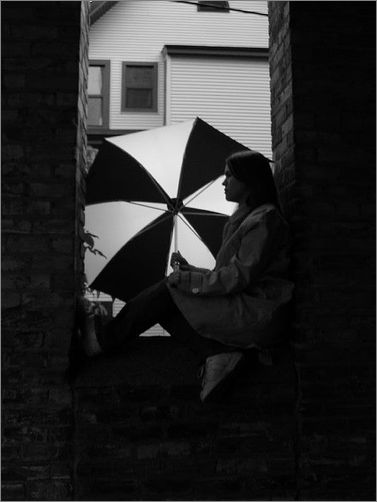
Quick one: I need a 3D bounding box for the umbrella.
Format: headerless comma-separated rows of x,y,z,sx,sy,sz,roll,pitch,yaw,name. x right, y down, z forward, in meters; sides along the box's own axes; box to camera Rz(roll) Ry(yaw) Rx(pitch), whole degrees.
0.027,0.090,5.414,1.408,1.173,1.570,-26,-11,3,umbrella

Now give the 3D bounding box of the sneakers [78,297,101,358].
-0.573,0.455,4.180,0.163,0.230,0.228,15,-9,-16,sneakers
